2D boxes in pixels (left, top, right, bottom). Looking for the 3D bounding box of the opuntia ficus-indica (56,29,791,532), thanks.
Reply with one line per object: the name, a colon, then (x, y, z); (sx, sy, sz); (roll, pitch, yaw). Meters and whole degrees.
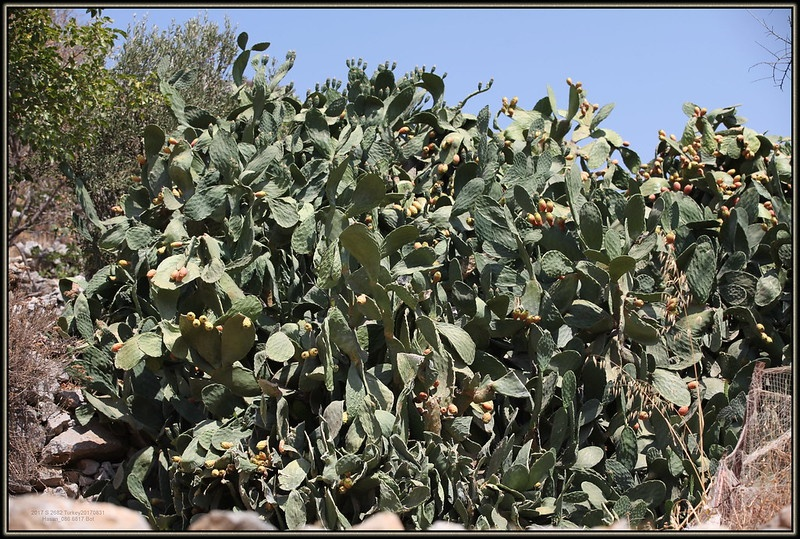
opuntia ficus-indica: (0.099, 0.875, 4.993); (3.534, 2.607, 2.375); (2, -52, -6)
